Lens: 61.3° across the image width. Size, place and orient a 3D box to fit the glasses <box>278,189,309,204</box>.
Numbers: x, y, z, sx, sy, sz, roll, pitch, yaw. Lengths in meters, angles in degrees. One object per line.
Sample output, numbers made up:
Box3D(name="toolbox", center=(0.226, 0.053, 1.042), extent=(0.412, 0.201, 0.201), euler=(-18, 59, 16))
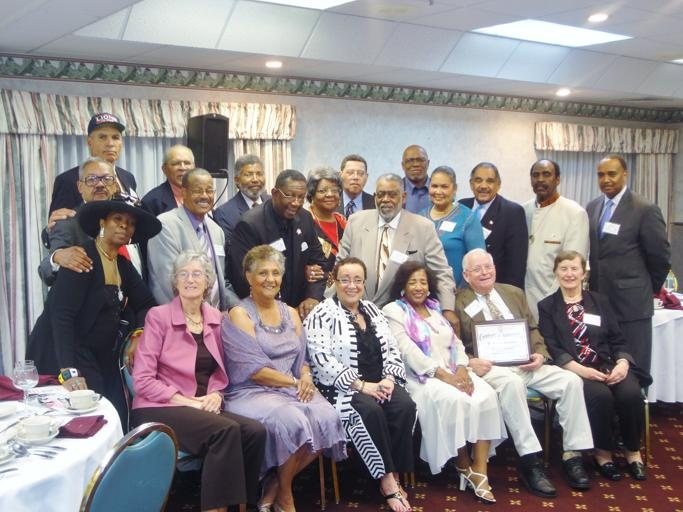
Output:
Box3D(name="glasses", center=(-0.365, -0.485, 4.731), extent=(0.163, 0.106, 0.306), euler=(7, 10, 31))

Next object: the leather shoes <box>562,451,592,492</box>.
Box3D(name="leather shoes", center=(1.834, 1.672, 4.488), extent=(0.111, 0.144, 0.321), euler=(-2, -3, 4))

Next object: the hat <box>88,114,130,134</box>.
Box3D(name="hat", center=(-2.074, -1.161, 5.063), extent=(0.278, 0.187, 0.279), euler=(-2, 10, -23))

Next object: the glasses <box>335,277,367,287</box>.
Box3D(name="glasses", center=(0.071, 0.197, 4.446), extent=(0.207, 0.077, 0.076), euler=(0, 9, -7))

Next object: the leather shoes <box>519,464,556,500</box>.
Box3D(name="leather shoes", center=(1.492, 1.707, 4.375), extent=(0.128, 0.129, 0.287), euler=(-1, 1, -22))

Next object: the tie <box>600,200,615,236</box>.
Box3D(name="tie", center=(2.535, -0.358, 5.508), extent=(0.115, 0.357, 0.157), euler=(1, 9, 1))

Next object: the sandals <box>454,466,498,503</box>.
Box3D(name="sandals", center=(1.005, 1.708, 4.304), extent=(0.130, 0.152, 0.323), euler=(9, -9, -32))

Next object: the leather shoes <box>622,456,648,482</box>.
Box3D(name="leather shoes", center=(2.362, 1.715, 4.601), extent=(0.074, 0.068, 0.214), euler=(-5, 0, 9))

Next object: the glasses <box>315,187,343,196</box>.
Box3D(name="glasses", center=(-0.110, -0.573, 5.159), extent=(0.213, 0.068, 0.103), euler=(-2, 10, -23))

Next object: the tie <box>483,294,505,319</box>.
Box3D(name="tie", center=(1.289, 0.448, 4.890), extent=(0.068, 0.273, 0.080), euler=(-22, -9, -31))

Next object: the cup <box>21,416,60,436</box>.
Box3D(name="cup", center=(-1.581, 0.889, 3.051), extent=(0.108, 0.071, 0.147), euler=(-3, -7, 27))

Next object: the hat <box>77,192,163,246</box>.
Box3D(name="hat", center=(-1.547, -0.234, 4.032), extent=(0.537, 0.314, 0.260), euler=(-2, 9, -19))

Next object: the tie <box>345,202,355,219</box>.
Box3D(name="tie", center=(0.093, -0.487, 6.053), extent=(0.160, 0.170, 0.051), euler=(0, -9, 18))

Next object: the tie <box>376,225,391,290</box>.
Box3D(name="tie", center=(0.364, -0.008, 4.942), extent=(0.098, 0.514, 0.158), euler=(2, 9, 7))

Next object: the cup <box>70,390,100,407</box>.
Box3D(name="cup", center=(-1.504, 0.821, 3.363), extent=(0.131, 0.064, 0.092), euler=(2, -3, -32))
